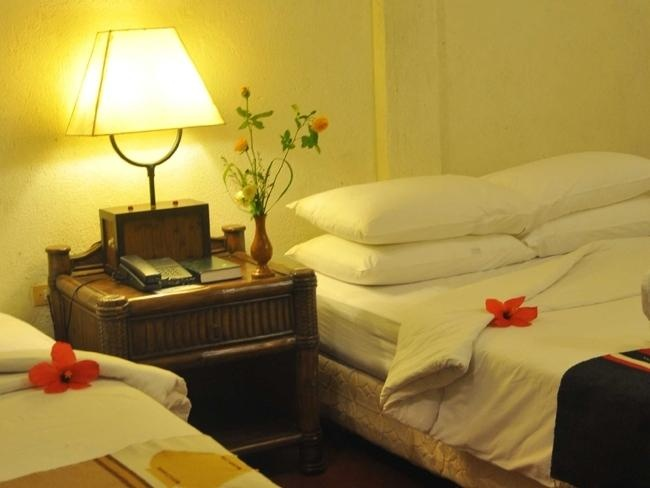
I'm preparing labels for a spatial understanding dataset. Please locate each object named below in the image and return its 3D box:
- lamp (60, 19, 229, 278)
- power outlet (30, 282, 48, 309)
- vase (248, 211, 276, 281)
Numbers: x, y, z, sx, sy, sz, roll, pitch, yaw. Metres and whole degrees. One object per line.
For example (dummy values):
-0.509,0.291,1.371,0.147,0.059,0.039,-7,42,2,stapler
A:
-0.711,-0.438,2.130,0.619,0.908,0.595,-13,17,-36,lamp
-1.055,0.188,2.019,0.091,0.095,0.020,-2,5,-33,power outlet
-0.228,0.001,1.920,0.074,0.217,0.152,-5,10,-7,vase
